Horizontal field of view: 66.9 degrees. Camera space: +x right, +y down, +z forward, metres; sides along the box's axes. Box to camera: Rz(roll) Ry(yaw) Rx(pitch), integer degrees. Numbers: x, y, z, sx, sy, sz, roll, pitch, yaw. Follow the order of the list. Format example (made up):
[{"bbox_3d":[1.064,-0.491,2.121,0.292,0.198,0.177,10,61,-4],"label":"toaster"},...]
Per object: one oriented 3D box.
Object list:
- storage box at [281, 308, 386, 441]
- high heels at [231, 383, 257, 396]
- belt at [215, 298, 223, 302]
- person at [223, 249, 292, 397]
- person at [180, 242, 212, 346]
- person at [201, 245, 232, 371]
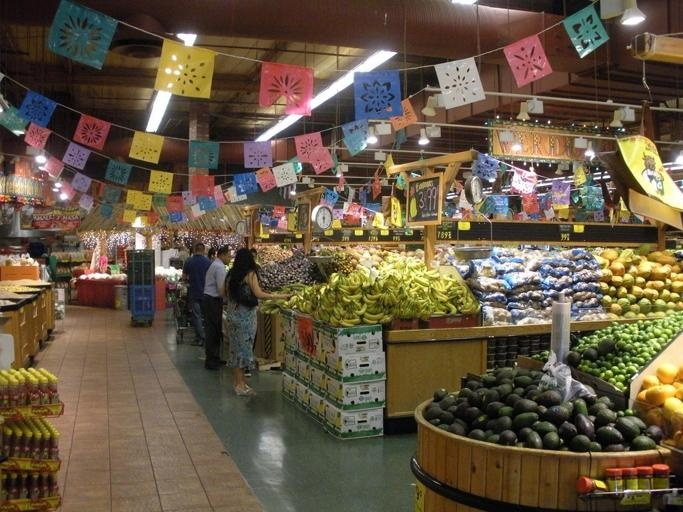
[{"bbox_3d":[-0.139,1.221,5.556,0.479,1.108,1.388,-1,1,-36],"label":"storage box"},{"bbox_3d":[-1.209,1.646,6.422,0.239,0.100,0.135,-5,-4,41],"label":"high heels"},{"bbox_3d":[-1.822,0.640,7.587,0.097,0.057,0.067,0,-4,-7],"label":"belt"},{"bbox_3d":[-1.082,0.842,6.403,0.667,1.839,0.754,-1,6,-30],"label":"person"},{"bbox_3d":[-2.618,0.670,9.437,0.580,1.808,0.522,0,0,-9],"label":"person"},{"bbox_3d":[-1.855,0.788,7.554,0.610,1.762,0.528,0,1,-28],"label":"person"}]
